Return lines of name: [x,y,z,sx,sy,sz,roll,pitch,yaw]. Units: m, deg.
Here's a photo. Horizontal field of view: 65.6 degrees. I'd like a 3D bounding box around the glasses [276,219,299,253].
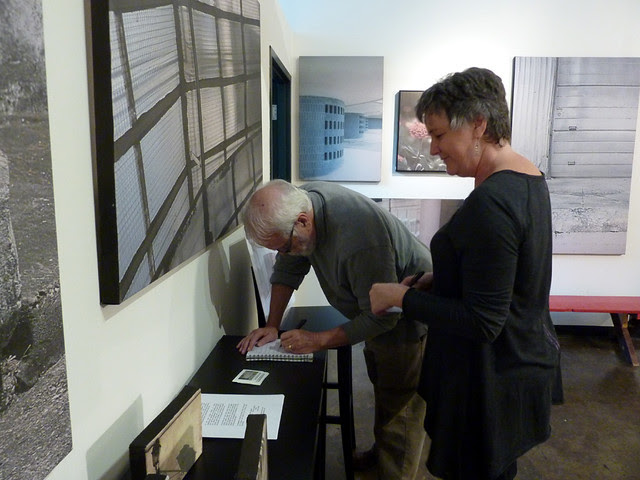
glasses: [-0.124,-0.017,1.984,0.027,0.112,0.101,19,-22,-20]
